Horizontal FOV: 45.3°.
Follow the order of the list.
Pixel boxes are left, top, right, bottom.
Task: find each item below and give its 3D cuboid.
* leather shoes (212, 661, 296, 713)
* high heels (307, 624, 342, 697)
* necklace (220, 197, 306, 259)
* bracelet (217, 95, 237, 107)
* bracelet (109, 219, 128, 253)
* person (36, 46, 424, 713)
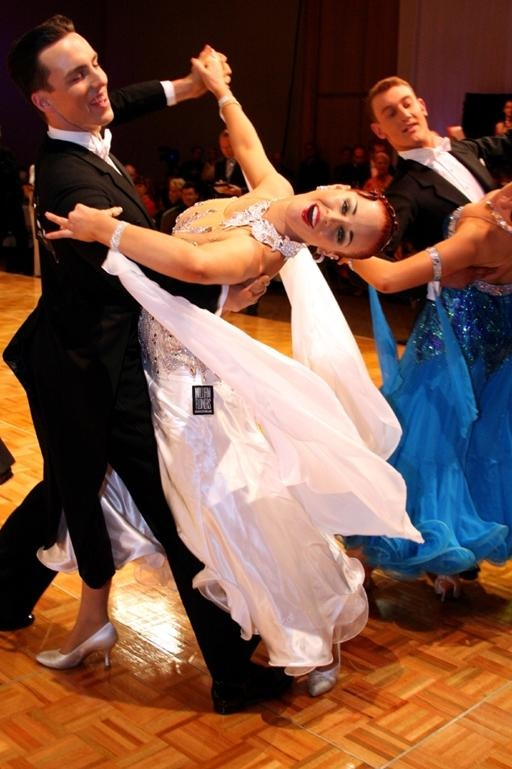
[{"bbox_3d":[-0.005,0.742,1.564,0.206,0.136,0.078,-16,18,-37],"label":"leather shoes"},{"bbox_3d":[0.193,0.765,1.637,0.059,0.069,0.170,-6,-12,17],"label":"high heels"},{"bbox_3d":[0.013,-0.343,1.380,0.101,0.043,0.154,-36,52,-8],"label":"necklace"},{"bbox_3d":[-0.079,-0.796,1.728,0.052,0.034,0.050,2,4,5],"label":"bracelet"},{"bbox_3d":[-0.261,-0.279,1.153,0.014,0.048,0.051,15,3,-14],"label":"bracelet"},{"bbox_3d":[-0.041,0.040,1.562,0.947,1.395,0.600,14,12,18],"label":"person"}]
